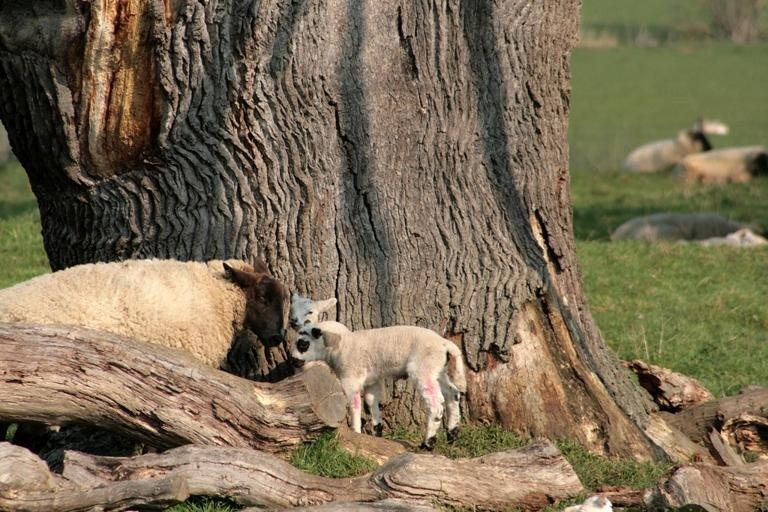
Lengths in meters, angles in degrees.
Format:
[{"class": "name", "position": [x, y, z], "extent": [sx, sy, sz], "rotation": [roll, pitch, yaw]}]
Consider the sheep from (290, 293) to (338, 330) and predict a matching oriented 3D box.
[{"class": "sheep", "position": [-1.226, 0.875, 27.758], "extent": [0.543, 0.352, 0.610], "rotation": [3, 10, 6]}]
